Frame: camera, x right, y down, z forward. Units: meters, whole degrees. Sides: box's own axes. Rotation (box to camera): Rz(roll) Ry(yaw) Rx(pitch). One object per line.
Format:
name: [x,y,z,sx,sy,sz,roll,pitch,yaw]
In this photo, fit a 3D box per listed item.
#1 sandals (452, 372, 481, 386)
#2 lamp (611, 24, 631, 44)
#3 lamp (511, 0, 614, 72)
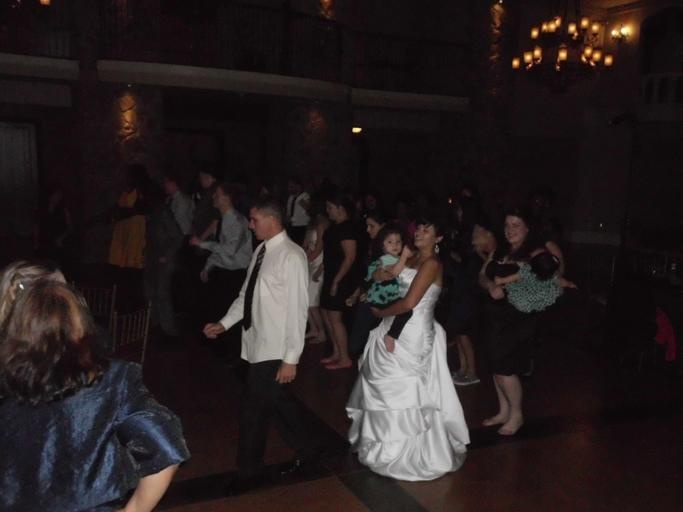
sandals: [1.225,1.212,5.730,0.228,0.093,0.144,3,2,-16]
lamp: [5.452,-4.366,11.215,0.312,0.214,0.245,-23,32,-26]
lamp: [3.675,-3.599,9.637,1.611,0.841,1.731,4,18,14]
